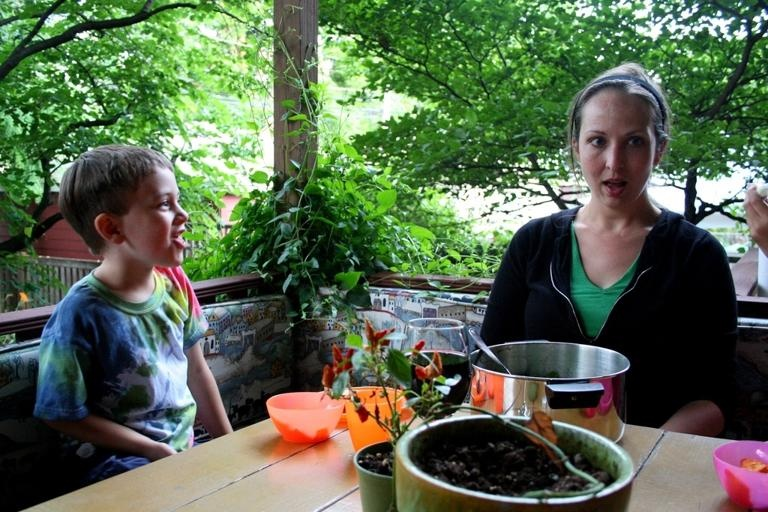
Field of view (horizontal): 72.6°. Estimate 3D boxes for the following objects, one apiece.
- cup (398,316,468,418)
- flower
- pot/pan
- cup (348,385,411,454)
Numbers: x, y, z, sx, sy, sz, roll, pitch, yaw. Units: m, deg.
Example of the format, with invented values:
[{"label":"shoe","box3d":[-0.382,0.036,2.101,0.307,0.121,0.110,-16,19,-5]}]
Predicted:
[{"label":"cup","box3d":[0.104,0.212,1.041,0.155,0.168,0.140,3,-10,8]},{"label":"flower","box3d":[-0.013,0.236,0.879,0.215,0.189,0.190,2,-6,-12]},{"label":"pot/pan","box3d":[0.269,0.266,1.027,0.305,0.130,0.349,3,4,15]},{"label":"cup","box3d":[-0.009,0.307,1.020,0.124,0.091,0.119,4,-17,1]}]
